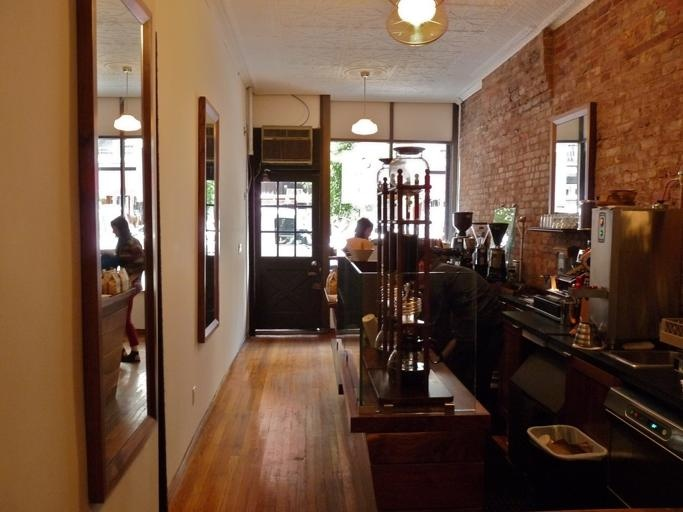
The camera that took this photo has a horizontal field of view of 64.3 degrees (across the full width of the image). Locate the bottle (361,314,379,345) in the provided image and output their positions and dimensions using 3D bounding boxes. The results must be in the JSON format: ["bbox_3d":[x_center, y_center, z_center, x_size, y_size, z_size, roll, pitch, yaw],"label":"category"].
[{"bbox_3d":[0.129,0.336,2.448,0.025,0.150,0.117,5,6,39],"label":"bottle"}]
